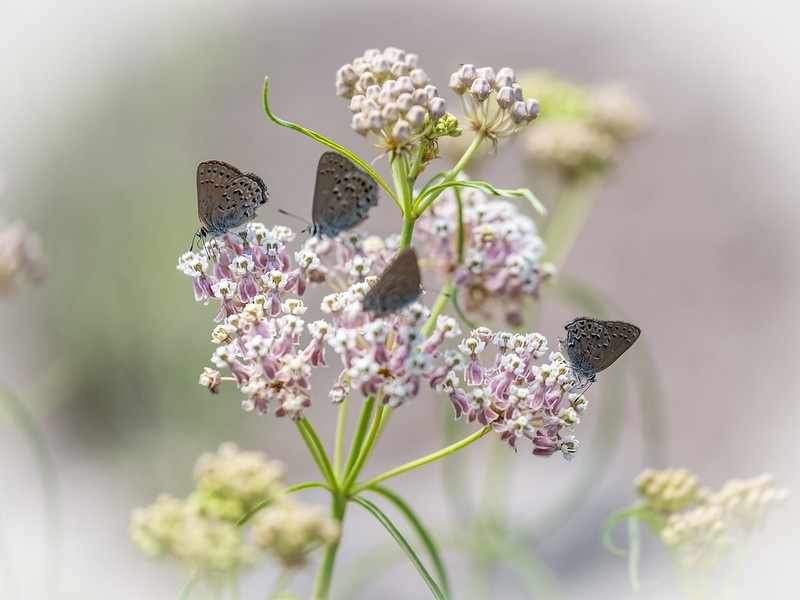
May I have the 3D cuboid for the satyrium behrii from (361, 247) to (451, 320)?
[{"bbox_3d":[-0.035,-0.078,3.518,0.259,0.161,0.255,-10,-63,-1],"label":"satyrium behrii"}]
